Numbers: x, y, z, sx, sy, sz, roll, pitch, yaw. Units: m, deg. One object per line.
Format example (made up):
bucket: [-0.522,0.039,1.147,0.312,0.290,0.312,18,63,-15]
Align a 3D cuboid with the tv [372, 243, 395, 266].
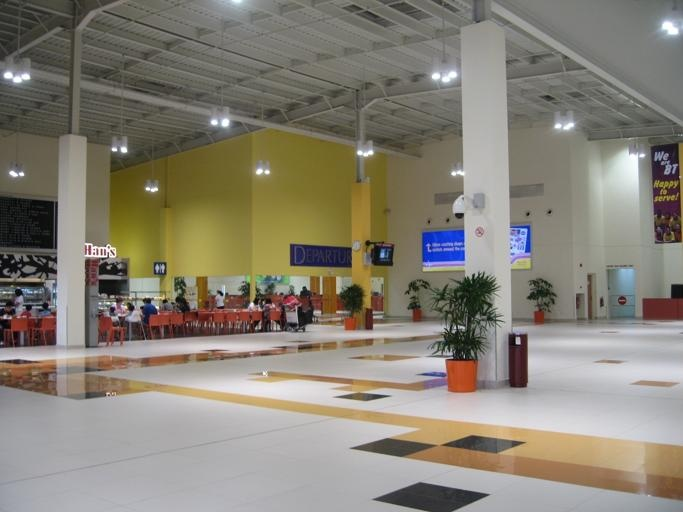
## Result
tv: [1.546,-0.061,19.699,0.943,0.842,0.352,0,-3,-37]

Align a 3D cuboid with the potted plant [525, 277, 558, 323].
potted plant: [8.988,1.974,23.712,1.190,2.001,1.000,0,-3,-30]

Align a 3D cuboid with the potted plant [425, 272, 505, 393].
potted plant: [1.946,1.166,8.055,1.050,1.808,0.579,-2,-3,-4]

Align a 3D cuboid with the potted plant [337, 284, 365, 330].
potted plant: [0.422,1.903,19.462,0.914,1.760,0.984,-2,-3,7]

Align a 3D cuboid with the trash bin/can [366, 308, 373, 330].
trash bin/can: [1.062,2.421,20.009,0.196,0.812,0.452,-4,-3,37]

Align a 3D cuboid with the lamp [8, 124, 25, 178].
lamp: [-13.393,-4.286,21.476,0.572,2.537,3.487,0,-3,-32]

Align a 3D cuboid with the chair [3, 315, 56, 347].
chair: [-9.417,2.289,15.744,1.293,0.702,1.368,0,-4,-15]

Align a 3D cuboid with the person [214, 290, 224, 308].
person: [-5.248,1.909,22.423,0.299,0.720,1.000,-1,-3,-16]

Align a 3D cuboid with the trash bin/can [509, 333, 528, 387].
trash bin/can: [2.828,1.637,8.298,0.275,0.780,0.284,-4,-8,34]
